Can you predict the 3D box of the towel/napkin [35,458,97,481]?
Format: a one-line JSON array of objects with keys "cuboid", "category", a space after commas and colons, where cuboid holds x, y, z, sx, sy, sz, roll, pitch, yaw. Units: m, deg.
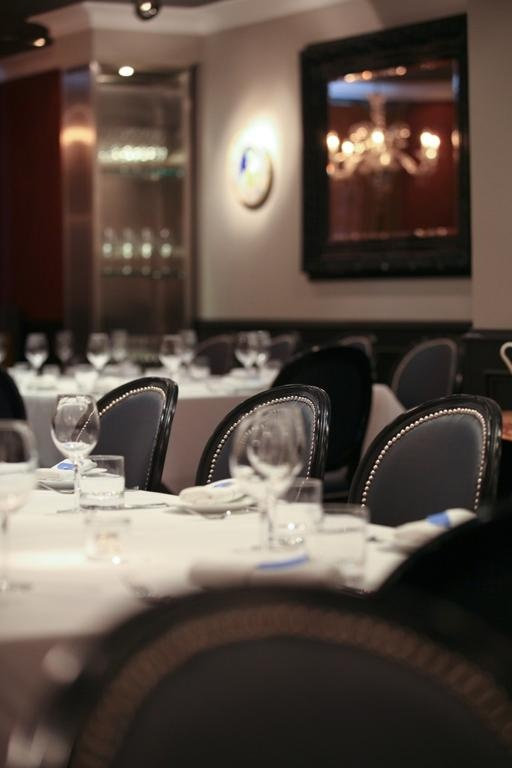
[{"cuboid": [-0.522, 0.233, 1.796, 0.150, 0.044, 0.144, -4, 1, -26], "category": "towel/napkin"}]
